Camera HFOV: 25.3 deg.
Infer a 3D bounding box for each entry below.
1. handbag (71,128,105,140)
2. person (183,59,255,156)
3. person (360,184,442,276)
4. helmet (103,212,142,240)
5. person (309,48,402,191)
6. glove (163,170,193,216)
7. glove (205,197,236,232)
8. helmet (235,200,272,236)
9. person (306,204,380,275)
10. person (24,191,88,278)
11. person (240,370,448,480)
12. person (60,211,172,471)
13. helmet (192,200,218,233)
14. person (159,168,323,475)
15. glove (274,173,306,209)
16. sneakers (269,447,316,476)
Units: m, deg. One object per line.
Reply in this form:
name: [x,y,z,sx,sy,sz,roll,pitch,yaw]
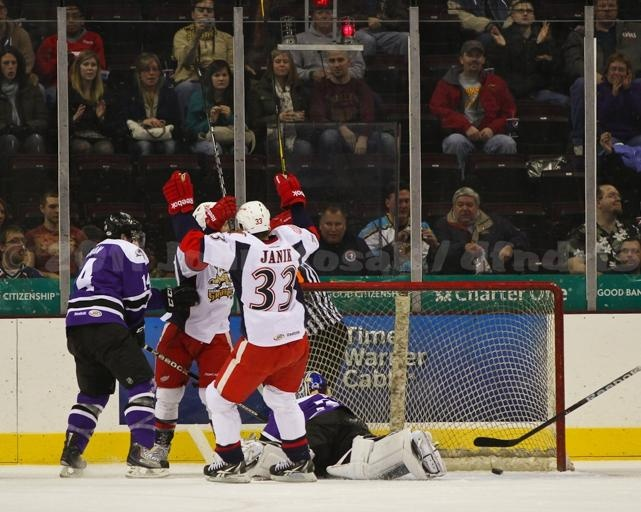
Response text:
handbag: [-1.755,-0.917,10.739,0.154,0.100,0.025,10,-37,-6]
person: [-0.771,-1.118,10.775,0.745,0.808,0.521,-3,9,-21]
person: [0.618,-0.092,10.858,0.661,0.833,0.464,-14,21,-29]
helmet: [-1.365,-0.203,9.943,0.242,0.188,0.186,-19,18,-12]
person: [0.223,-1.021,10.825,0.623,1.088,0.628,-9,24,-16]
glove: [-0.946,-0.418,9.518,0.250,0.282,0.133,-4,2,5]
glove: [-0.647,-0.277,9.447,0.252,0.179,0.089,-40,-8,2]
helmet: [-0.442,-0.272,9.415,0.238,0.207,0.289,-19,16,-34]
person: [0.154,-0.147,10.635,0.461,0.711,0.208,-9,-2,-7]
person: [-1.976,-0.118,10.732,0.576,0.720,0.430,-3,-5,-10]
person: [0.191,1.153,9.394,1.034,0.494,0.613,-10,-18,33]
person: [-1.409,0.690,9.726,0.688,1.615,0.322,1,4,15]
helmet: [-0.820,-0.286,10.035,0.193,0.193,0.154,-9,29,-38]
person: [-0.436,0.550,9.299,0.821,1.811,0.320,0,4,1]
glove: [-0.226,-0.446,9.686,0.214,0.249,0.107,-16,-21,-23]
sneakers: [-0.223,1.385,9.354,0.378,0.232,0.125,3,-9,8]
